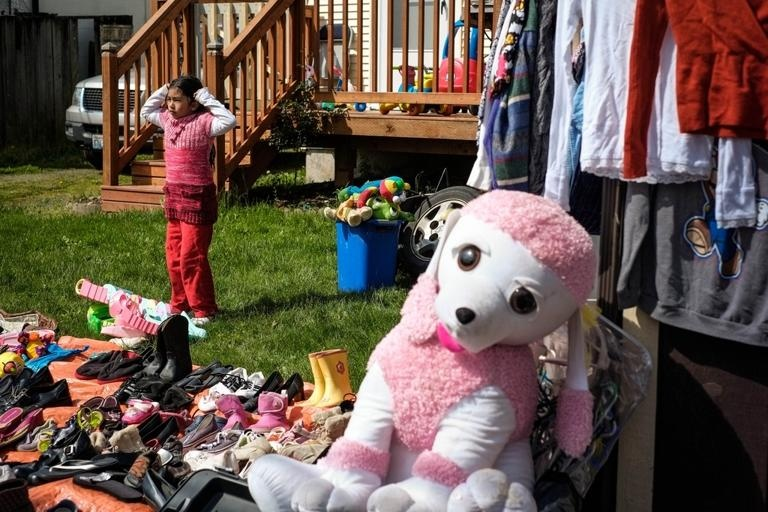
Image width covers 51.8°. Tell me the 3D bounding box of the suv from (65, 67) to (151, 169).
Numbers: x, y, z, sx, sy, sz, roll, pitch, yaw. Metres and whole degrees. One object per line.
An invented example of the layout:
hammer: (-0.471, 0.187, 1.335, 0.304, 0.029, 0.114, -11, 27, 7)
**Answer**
suv: (-4.806, -2.254, 13.095, 1.203, 1.505, 2.376, 3, 9, 4)

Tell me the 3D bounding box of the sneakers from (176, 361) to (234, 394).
sneakers: (-1.147, 0.766, 5.025, 0.226, 0.096, 0.152, -23, 20, -36)

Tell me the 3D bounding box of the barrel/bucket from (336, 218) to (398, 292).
barrel/bucket: (-0.175, -0.050, 7.025, 0.536, 0.634, 0.527, 1, 6, 0)

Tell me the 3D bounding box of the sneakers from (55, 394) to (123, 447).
sneakers: (-1.652, 0.905, 4.478, 0.160, 0.101, 0.336, 3, 22, 4)

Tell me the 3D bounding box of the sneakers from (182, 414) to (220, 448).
sneakers: (-1.025, 0.969, 4.480, 0.089, 0.107, 0.264, 12, 32, 33)

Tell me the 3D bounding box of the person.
person: (-1.478, -0.442, 6.240, 0.554, 1.864, 0.412, 1, 8, -9)

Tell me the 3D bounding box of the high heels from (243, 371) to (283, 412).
high heels: (-0.735, 0.813, 4.892, 0.101, 0.150, 0.349, -9, 15, 31)

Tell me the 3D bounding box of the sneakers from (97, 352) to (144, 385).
sneakers: (-1.717, 0.692, 5.138, 0.143, 0.089, 0.218, 3, 20, 26)

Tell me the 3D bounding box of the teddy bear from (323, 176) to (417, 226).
teddy bear: (-0.165, -0.466, 6.873, 0.445, 0.361, 0.552, 10, 8, 31)

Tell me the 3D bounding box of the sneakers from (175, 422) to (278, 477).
sneakers: (-0.850, 1.038, 4.246, 0.347, 0.170, 0.226, 4, -4, -2)

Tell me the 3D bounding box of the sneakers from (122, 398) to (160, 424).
sneakers: (-1.431, 0.899, 4.623, 0.079, 0.106, 0.219, -1, 1, 26)

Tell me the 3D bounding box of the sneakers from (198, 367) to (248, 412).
sneakers: (-0.993, 0.804, 4.871, 0.120, 0.163, 0.370, 21, 18, 9)

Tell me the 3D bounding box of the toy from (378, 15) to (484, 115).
toy: (0.660, -2.467, 10.188, 1.374, 1.728, 0.981, 3, 13, 5)

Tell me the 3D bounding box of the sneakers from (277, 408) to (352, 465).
sneakers: (-0.368, 0.965, 4.230, 0.327, 0.155, 0.237, -17, 12, -42)

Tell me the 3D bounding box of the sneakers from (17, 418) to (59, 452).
sneakers: (-1.921, 0.993, 4.405, 0.241, 0.119, 0.191, 5, 11, 4)

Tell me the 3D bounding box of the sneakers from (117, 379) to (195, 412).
sneakers: (-1.407, 0.836, 4.835, 0.285, 0.116, 0.218, 6, 2, -38)

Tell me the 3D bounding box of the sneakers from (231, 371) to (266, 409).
sneakers: (-0.835, 0.820, 4.924, 0.079, 0.120, 0.266, 10, 4, 11)

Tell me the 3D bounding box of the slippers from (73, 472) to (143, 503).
slippers: (-1.381, 1.140, 3.952, 0.293, 0.088, 0.160, 10, 16, 23)
